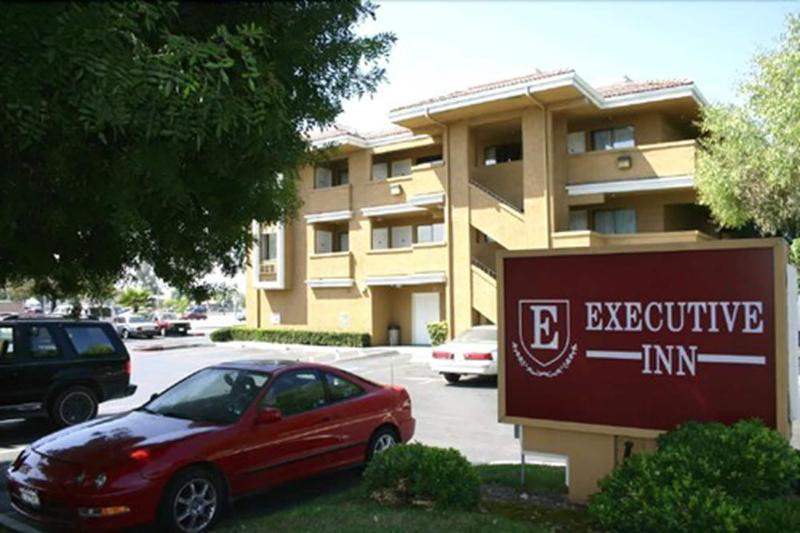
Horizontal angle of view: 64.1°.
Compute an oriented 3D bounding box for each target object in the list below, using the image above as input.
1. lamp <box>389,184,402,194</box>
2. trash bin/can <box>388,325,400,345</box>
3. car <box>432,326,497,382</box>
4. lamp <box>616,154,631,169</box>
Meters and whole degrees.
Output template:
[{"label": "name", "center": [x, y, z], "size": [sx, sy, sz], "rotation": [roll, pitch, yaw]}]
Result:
[{"label": "lamp", "center": [-0.150, -3.615, 30.457], "size": [0.548, 0.522, 0.443], "rotation": [-5, -11, 32]}, {"label": "trash bin/can", "center": [-0.267, 3.474, 31.862], "size": [0.530, 0.939, 0.378], "rotation": [-1, -4, -5]}, {"label": "car", "center": [2.033, 2.544, 18.970], "size": [1.179, 0.906, 2.726], "rotation": [-2, -6, 24]}, {"label": "lamp", "center": [8.780, -4.077, 24.926], "size": [0.501, 0.492, 0.290], "rotation": [-6, -11, 39]}]
